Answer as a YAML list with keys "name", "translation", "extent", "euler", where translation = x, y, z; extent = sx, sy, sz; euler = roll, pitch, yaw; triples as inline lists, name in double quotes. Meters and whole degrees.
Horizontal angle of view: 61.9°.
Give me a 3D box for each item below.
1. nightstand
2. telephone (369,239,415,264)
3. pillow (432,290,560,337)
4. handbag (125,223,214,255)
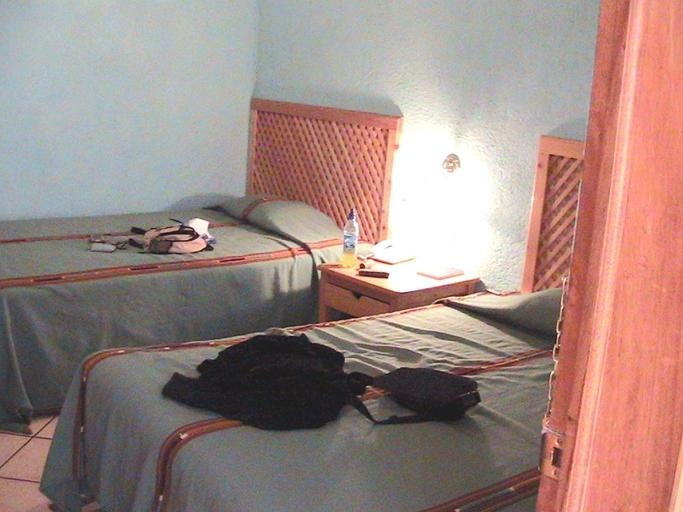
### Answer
- name: "nightstand"
  translation: [0.323, 0.160, 3.342]
  extent: [0.565, 0.425, 0.523]
  euler: [-10, 21, -34]
- name: "telephone"
  translation: [0.346, -0.030, 3.651]
  extent: [0.218, 0.044, 0.213]
  euler: [-14, 25, -32]
- name: "pillow"
  translation: [0.811, 0.263, 2.726]
  extent: [0.371, 0.091, 0.257]
  euler: [12, 17, 29]
- name: "handbag"
  translation: [-1.035, -0.106, 3.491]
  extent: [0.373, 0.103, 0.249]
  euler: [-5, 12, -26]
